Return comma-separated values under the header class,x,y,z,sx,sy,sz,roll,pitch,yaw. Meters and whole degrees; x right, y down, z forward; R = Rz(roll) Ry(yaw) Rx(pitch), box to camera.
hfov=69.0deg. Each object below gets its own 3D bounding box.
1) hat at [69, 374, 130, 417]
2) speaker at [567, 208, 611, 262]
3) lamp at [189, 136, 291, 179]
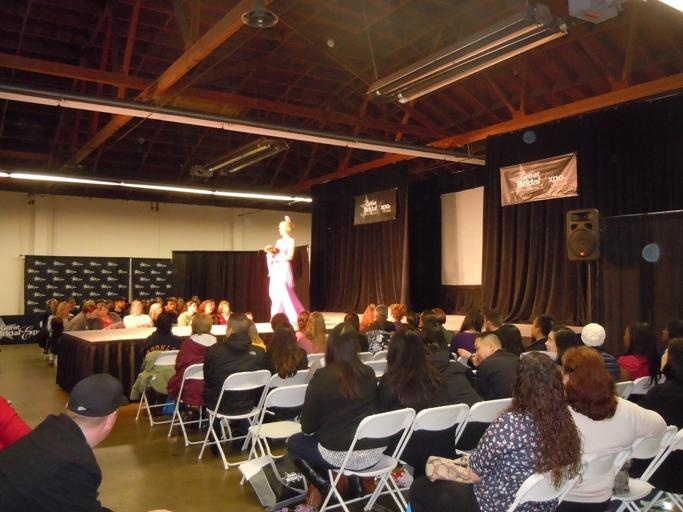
class,x,y,z,sx,sy,sz,roll,pitch,yaw
hat,-1.229,0.706,2.559,0.178,0.150,0.254,11,19,7
speaker,3.775,-0.319,7.840,0.206,0.823,0.525,1,-4,-30
lamp,-2.575,-2.498,12.535,0.742,0.428,3.589,3,-5,-43
